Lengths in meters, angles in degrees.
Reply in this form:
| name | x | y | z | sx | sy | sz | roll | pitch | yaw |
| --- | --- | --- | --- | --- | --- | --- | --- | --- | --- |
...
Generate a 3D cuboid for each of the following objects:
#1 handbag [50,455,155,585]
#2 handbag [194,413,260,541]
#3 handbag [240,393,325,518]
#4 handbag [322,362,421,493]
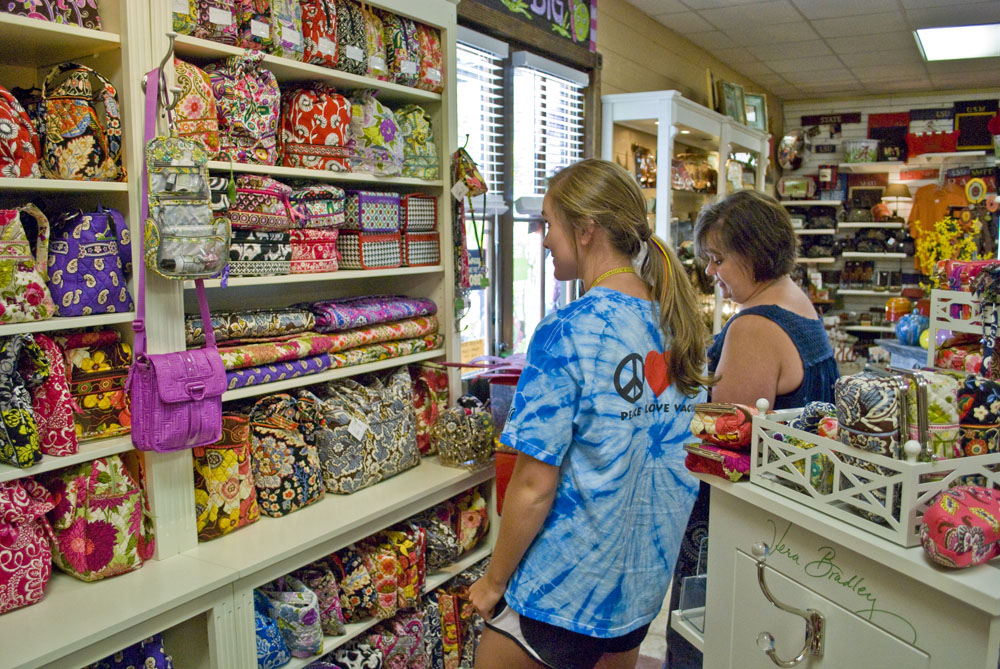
| name | x | y | z | sx | sy | sz | roll | pitch | yaw |
| --- | --- | --- | --- | --- | --- | --- | --- | --- | --- |
| handbag | -1.446 | 0.640 | 2.470 | 0.431 | 0.469 | 0.256 | -18 | -12 | 39 |
| handbag | -1.083 | 0.557 | 2.728 | 0.266 | 0.389 | 0.261 | -1 | 2 | 27 |
| handbag | -0.884 | 0.516 | 2.895 | 0.213 | 0.448 | 0.317 | 14 | 16 | 42 |
| handbag | -0.615 | 0.431 | 3.146 | 0.207 | 0.517 | 0.605 | 1 | 8 | 34 |
